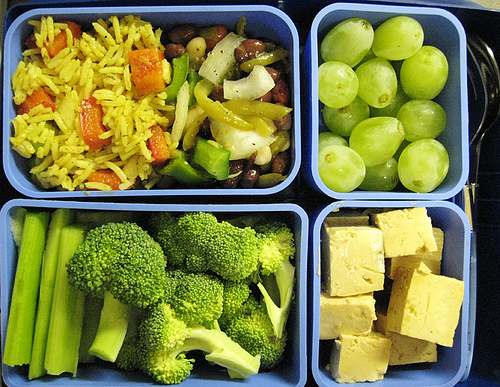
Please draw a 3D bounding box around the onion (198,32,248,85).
[{"bbox_3d":[-0.119,-0.497,1.937,0.107,0.076,0.220,29,84,-1],"label":"onion"}]

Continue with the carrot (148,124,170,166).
[{"bbox_3d":[-0.341,-0.189,1.883,0.079,0.187,0.043,7,51,20],"label":"carrot"}]

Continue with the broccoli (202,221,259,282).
[{"bbox_3d":[-0.073,0.207,1.900,0.168,0.105,0.236,-2,87,-6],"label":"broccoli"}]

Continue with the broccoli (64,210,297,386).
[{"bbox_3d":[-0.212,0.361,1.850,0.617,0.348,0.762,-6,116,0],"label":"broccoli"}]

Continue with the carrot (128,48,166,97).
[{"bbox_3d":[-0.377,-0.447,1.820,0.130,0.097,0.163,-12,92,-3],"label":"carrot"}]

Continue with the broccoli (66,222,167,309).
[{"bbox_3d":[-0.469,0.256,1.801,0.302,0.278,0.274,26,80,-20],"label":"broccoli"}]

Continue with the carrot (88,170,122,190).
[{"bbox_3d":[-0.543,-0.048,1.858,0.087,0.028,0.075,15,71,-9],"label":"carrot"}]

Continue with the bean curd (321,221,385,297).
[{"bbox_3d":[0.399,0.264,1.994,0.289,0.300,0.266,-9,94,-36],"label":"bean curd"}]

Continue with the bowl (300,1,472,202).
[{"bbox_3d":[0.515,-0.334,1.907,0.632,0.274,0.728,-1,78,2],"label":"bowl"}]

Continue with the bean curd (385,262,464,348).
[{"bbox_3d":[0.679,0.433,1.906,0.268,0.098,0.279,19,79,6],"label":"bean curd"}]
